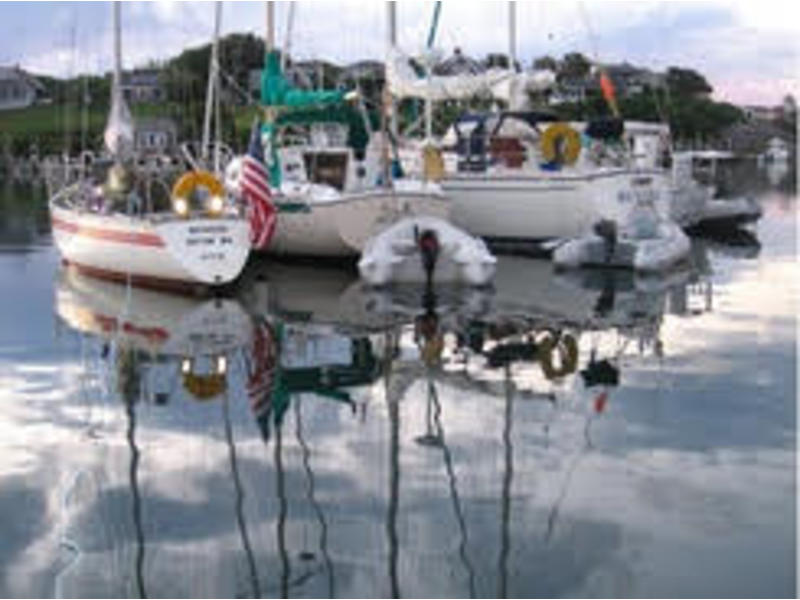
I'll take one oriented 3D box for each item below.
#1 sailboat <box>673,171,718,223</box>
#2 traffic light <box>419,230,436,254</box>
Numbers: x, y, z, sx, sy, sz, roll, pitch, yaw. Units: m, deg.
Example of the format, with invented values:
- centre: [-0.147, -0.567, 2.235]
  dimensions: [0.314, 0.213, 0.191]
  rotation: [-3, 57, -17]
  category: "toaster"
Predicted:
- centre: [6.250, -2.024, 20.623]
  dimensions: [0.662, 0.994, 2.638]
  rotation: [5, 10, 25]
  category: "sailboat"
- centre: [0.397, -0.824, 13.800]
  dimensions: [0.277, 0.335, 0.230]
  rotation: [2, 6, 1]
  category: "traffic light"
